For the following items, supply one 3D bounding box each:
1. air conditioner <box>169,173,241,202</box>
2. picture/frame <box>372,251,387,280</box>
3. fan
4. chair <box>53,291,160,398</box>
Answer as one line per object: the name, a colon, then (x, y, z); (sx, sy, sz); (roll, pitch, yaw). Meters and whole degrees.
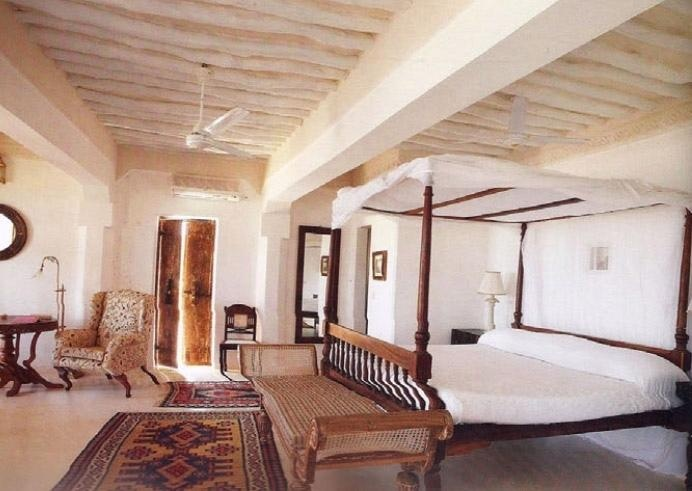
air conditioner: (-2.103, -0.877, 8.097); (0.983, 0.133, 0.455); (2, -4, -23)
picture/frame: (0.485, 0.278, 7.753); (0.052, 0.434, 0.556); (3, -1, -22)
fan: (-1.182, -1.288, 5.336); (1.014, 0.770, 1.052); (-6, 16, -44)
chair: (-2.948, 1.155, 6.658); (1.162, 1.162, 0.870); (4, 3, 10)
